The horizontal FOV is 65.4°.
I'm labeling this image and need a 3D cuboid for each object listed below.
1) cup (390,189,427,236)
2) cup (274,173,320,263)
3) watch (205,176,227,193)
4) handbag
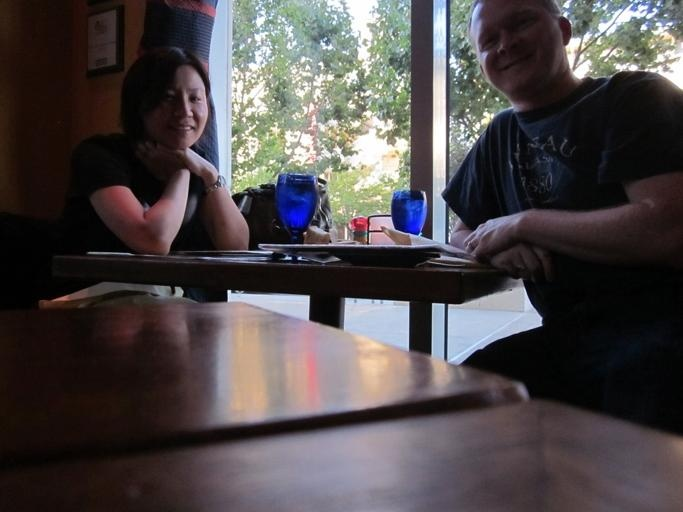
[{"bbox_3d":[0.163,-0.102,1.244,0.089,0.111,0.094,0,3,0],"label":"cup"},{"bbox_3d":[-0.082,-0.086,0.977,0.079,0.131,0.103,-1,7,-6],"label":"cup"},{"bbox_3d":[-0.423,-0.240,1.781,0.056,0.037,0.056,-42,-8,22],"label":"watch"},{"bbox_3d":[-0.211,-0.147,1.972,0.282,0.357,0.242,2,3,-29],"label":"handbag"}]
